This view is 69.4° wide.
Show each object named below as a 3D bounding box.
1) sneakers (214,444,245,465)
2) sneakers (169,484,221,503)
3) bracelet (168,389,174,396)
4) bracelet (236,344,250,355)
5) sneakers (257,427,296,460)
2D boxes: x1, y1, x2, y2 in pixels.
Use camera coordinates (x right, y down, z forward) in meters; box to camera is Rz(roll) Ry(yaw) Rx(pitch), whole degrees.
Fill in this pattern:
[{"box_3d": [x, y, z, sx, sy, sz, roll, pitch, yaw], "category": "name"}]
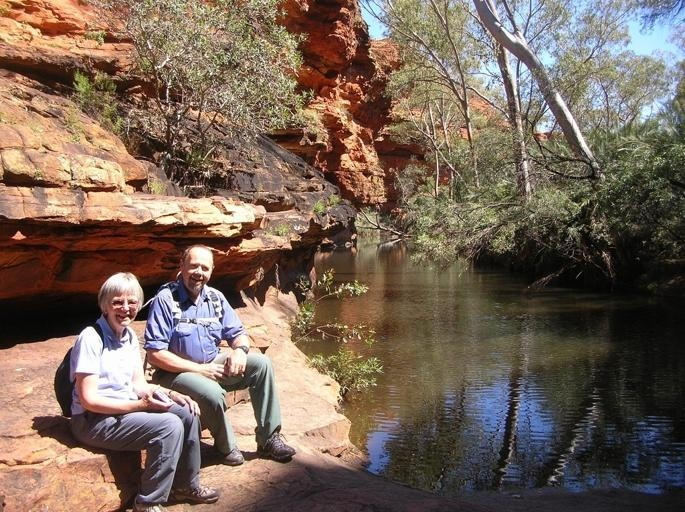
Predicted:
[{"box_3d": [-1.101, 1.885, 4.698, 0.323, 0.122, 0.122, 1, -12, 27], "category": "sneakers"}, {"box_3d": [-1.235, 2.009, 4.153, 0.389, 0.141, 0.156, 1, 2, -3], "category": "sneakers"}, {"box_3d": [-1.471, 1.166, 4.238, 0.016, 0.055, 0.064, 14, 20, 42], "category": "bracelet"}, {"box_3d": [-0.968, 0.895, 4.746, 0.103, 0.036, 0.099, 5, -20, 35], "category": "bracelet"}, {"box_3d": [-0.672, 1.841, 4.839, 0.410, 0.178, 0.210, -2, -3, 36], "category": "sneakers"}]
